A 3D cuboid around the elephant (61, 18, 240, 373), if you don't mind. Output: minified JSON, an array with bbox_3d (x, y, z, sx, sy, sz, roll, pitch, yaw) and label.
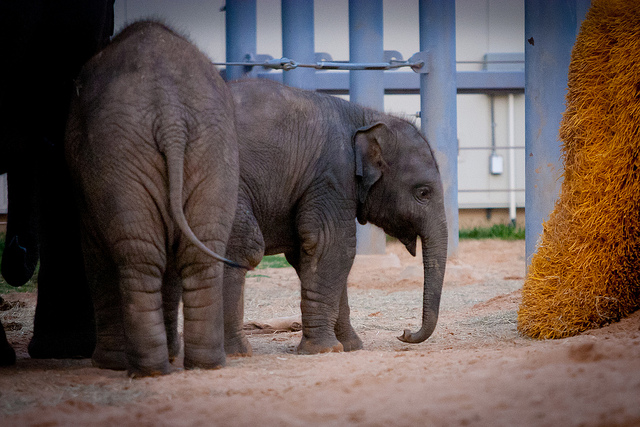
[{"bbox_3d":[-1.816,-0.309,8.751,1.863,3.016,3.935,-3,8,-23],"label":"elephant"}]

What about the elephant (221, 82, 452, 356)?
[{"bbox_3d":[-0.085,0.091,8.957,2.874,2.456,1.275,2,3,-22],"label":"elephant"}]
